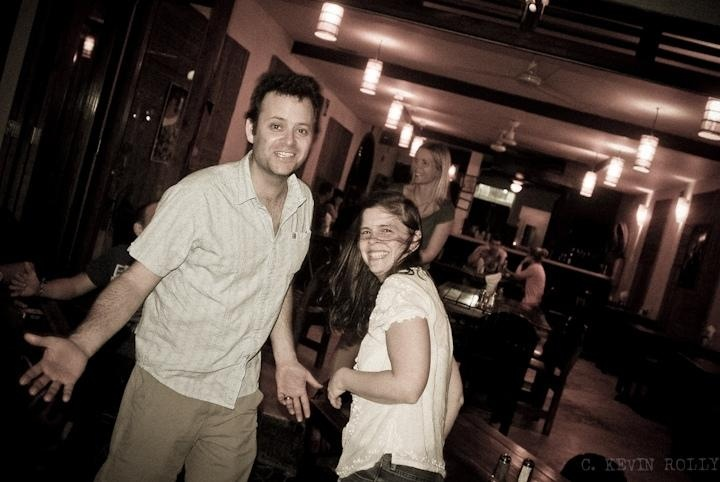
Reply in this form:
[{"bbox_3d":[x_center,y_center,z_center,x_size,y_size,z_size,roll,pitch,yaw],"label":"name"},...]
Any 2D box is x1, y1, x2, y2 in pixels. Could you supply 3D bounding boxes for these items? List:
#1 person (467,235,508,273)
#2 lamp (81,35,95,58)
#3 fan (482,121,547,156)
[{"bbox_3d":[2.921,0.394,11.504,0.761,0.799,1.408,15,4,18],"label":"person"},{"bbox_3d":[-3.319,-2.367,6.137,0.119,0.286,0.109,11,5,-34],"label":"lamp"},{"bbox_3d":[3.661,-2.374,12.092,0.886,0.925,0.859,18,2,-9],"label":"fan"}]
